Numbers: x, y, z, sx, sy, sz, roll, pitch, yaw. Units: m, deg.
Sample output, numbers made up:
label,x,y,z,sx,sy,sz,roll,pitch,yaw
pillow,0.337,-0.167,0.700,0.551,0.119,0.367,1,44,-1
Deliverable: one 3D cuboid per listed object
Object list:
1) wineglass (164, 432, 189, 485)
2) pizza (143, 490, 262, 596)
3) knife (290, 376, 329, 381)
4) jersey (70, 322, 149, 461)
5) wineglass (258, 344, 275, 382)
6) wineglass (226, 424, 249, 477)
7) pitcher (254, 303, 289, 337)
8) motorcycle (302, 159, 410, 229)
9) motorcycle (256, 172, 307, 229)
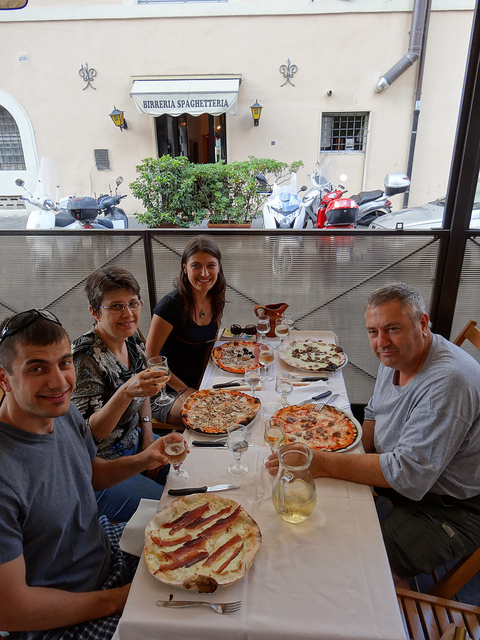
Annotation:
label,x,y,z,sx,sy,sz,roll,pitch,yaw
wineglass,-0.199,0.411,1.426,0.069,0.114,0.170,-3,18,-9
pizza,-0.090,0.555,1.160,0.286,0.071,0.320,-3,14,-15
knife,0.297,0.253,2.000,0.206,0.017,0.028,1,-15,-5
jersey,-0.481,0.269,1.695,0.244,0.437,0.439,-3,22,11
wineglass,0.113,0.201,2.068,0.078,0.169,0.081,2,30,9
wineglass,-0.011,0.415,1.449,0.071,0.125,0.064,-3,35,-3
pitcher,0.176,-0.010,2.566,0.217,0.200,0.139,-8,21,-16
motorcycle,1.353,-1.429,5.762,1.471,0.903,0.643,1,10,33
motorcycle,0.500,-1.494,5.777,0.612,0.768,1.283,-1,18,2
